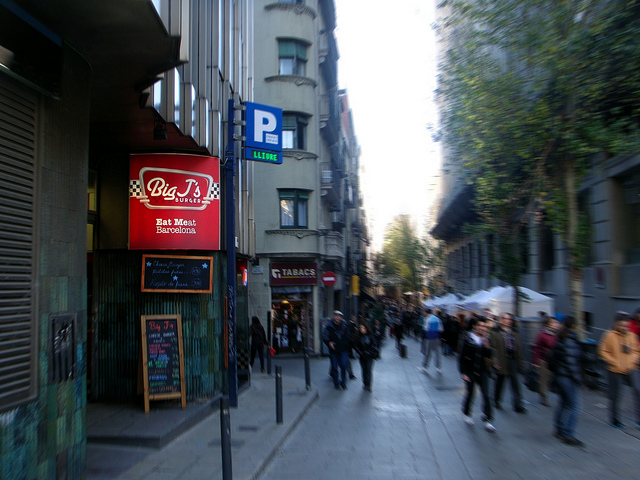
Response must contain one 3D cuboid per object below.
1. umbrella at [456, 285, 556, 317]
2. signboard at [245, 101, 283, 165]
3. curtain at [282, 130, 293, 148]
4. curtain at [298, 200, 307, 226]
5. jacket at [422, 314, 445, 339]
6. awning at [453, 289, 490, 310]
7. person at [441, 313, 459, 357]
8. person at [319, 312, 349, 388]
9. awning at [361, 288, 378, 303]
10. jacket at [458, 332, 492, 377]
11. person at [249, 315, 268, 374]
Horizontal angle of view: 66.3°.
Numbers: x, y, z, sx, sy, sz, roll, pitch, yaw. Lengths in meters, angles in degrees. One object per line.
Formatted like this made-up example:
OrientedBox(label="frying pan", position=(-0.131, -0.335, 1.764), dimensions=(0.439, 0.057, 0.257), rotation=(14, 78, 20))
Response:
OrientedBox(label="umbrella", position=(7.282, 2.400, 19.421), dimensions=(3.350, 1.932, 2.011), rotation=(-2, -4, 4))
OrientedBox(label="signboard", position=(-1.344, -2.552, 11.662), dimensions=(0.909, 1.455, 0.433), rotation=(-1, -7, -14))
OrientedBox(label="curtain", position=(-1.516, -4.827, 23.238), dimensions=(0.424, 0.847, 0.179), rotation=(-3, -6, 10))
OrientedBox(label="curtain", position=(-0.853, -1.327, 23.393), dimensions=(0.502, 1.204, 0.132), rotation=(4, -9, -42))
OrientedBox(label="jacket", position=(3.921, 2.965, 16.949), dimensions=(0.509, 0.762, 1.321), rotation=(-3, -7, 5))
OrientedBox(label="awning", position=(6.263, 2.515, 20.224), dimensions=(1.132, 0.634, 1.191), rotation=(-17, -8, 20))
OrientedBox(label="person", position=(4.999, 3.359, 18.855), dimensions=(0.619, 2.374, 0.577), rotation=(3, 32, 9))
OrientedBox(label="person", position=(0.465, 3.230, 14.658), dimensions=(0.647, 2.179, 1.232), rotation=(-2, -6, 2))
OrientedBox(label="awning", position=(3.937, 4.494, 40.647), dimensions=(1.053, 1.169, 2.685), rotation=(-4, -7, 12))
OrientedBox(label="jacket", position=(3.099, 2.308, 9.935), dimensions=(0.640, 0.859, 0.326), rotation=(-6, -8, 33))
OrientedBox(label="person", position=(-2.108, 3.563, 16.815), dimensions=(0.593, 1.901, 1.178), rotation=(-1, -7, -9))
